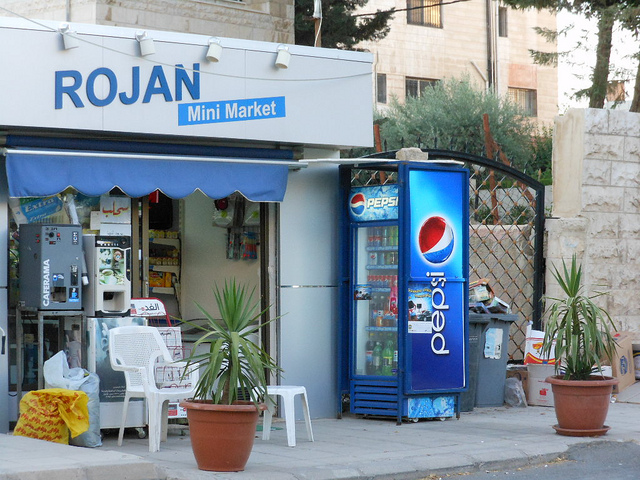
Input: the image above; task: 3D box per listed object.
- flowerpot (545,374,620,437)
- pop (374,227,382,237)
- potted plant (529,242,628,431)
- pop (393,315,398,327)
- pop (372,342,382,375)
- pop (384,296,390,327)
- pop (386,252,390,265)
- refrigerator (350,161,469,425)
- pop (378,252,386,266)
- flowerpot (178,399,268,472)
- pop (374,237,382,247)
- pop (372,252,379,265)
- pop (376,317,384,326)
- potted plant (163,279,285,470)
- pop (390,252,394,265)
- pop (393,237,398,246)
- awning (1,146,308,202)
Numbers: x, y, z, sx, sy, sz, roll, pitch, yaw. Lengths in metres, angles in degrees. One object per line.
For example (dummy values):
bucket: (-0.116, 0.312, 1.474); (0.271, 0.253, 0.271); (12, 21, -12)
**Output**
flowerpot: (2.983, 1.911, 10.712); (0.743, 0.632, 0.296); (-2, 0, 20)
pop: (0.742, -0.106, 11.922); (0.088, 0.202, 0.097); (0, 4, -9)
potted plant: (3.038, 1.263, 11.008); (1.228, 2.057, 1.350); (-7, -10, 19)
pop: (0.943, 1.012, 11.636); (0.034, 0.141, 0.164); (-2, 0, -7)
pop: (0.731, 1.498, 11.831); (0.139, 0.384, 0.058); (-2, 0, 43)
pop: (0.845, 0.901, 11.798); (0.088, 0.367, 0.065); (-2, 0, 28)
pop: (0.860, 0.236, 11.841); (0.050, 0.144, 0.020); (-2, 0, 32)
refrigerator: (1.104, 0.678, 12.088); (1.281, 3.250, 1.293); (0, 3, -22)
pop: (0.789, 0.240, 11.901); (0.117, 0.267, 0.130); (2, -1, 1)
flowerpot: (-0.961, 1.840, 9.185); (0.696, 0.729, 0.664); (4, 1, -31)
pop: (0.741, 0.023, 11.924); (0.016, 0.168, 0.106); (-5, 4, -43)
pop: (0.710, 0.238, 11.944); (0.096, 0.146, 0.026); (-2, 0, 36)
pop: (0.752, 1.039, 11.863); (0.078, 0.175, 0.087); (1, 6, 1)
potted plant: (-0.882, 1.425, 9.422); (0.881, 2.175, 1.013); (-2, 3, -37)
pop: (0.908, 0.239, 11.806); (0.058, 0.141, 0.018); (-2, 0, 39)
pop: (0.948, 0.023, 11.765); (0.019, 0.098, 0.066); (-2, 0, -38)
awning: (-1.973, -0.757, 10.876); (3.182, 0.676, 0.240); (-3, 1, -22)
